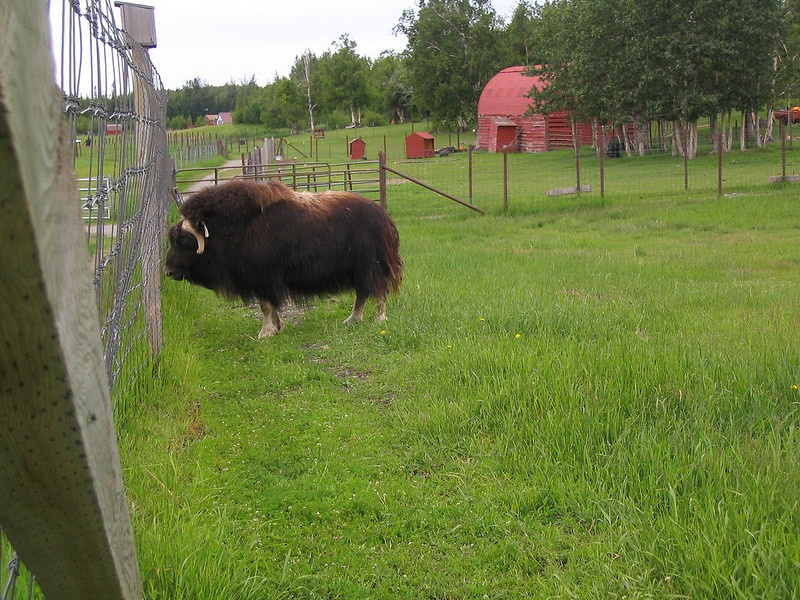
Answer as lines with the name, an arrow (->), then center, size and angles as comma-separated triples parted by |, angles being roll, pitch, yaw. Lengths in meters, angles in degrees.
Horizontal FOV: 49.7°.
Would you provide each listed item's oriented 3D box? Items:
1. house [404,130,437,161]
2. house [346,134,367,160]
house -> 0.826, -8.637, 48.943 | 1.774, 2.023, 1.751 | 6, 11, 29
house -> -2.490, -8.735, 49.685 | 1.185, 1.924, 1.369 | -1, 9, -7
